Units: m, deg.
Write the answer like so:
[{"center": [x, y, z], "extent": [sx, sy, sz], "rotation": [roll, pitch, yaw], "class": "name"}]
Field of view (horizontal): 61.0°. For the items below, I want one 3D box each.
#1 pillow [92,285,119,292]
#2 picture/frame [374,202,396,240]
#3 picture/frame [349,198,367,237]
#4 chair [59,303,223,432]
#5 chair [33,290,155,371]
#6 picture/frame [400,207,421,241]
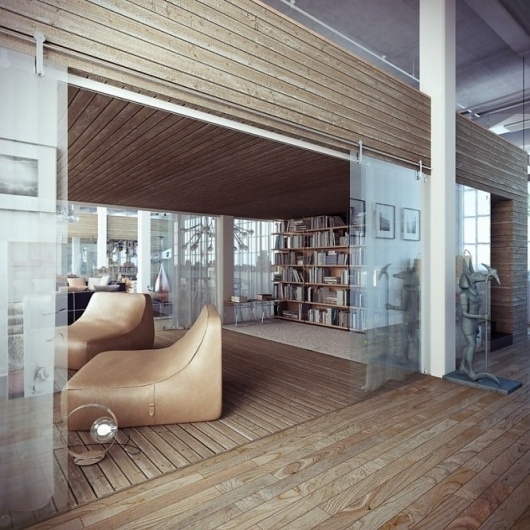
[{"center": [-2.827, 0.430, 8.018], "extent": [0.334, 0.099, 0.413], "rotation": [0, -6, -15], "class": "pillow"}, {"center": [1.145, -0.420, 4.325], "extent": [0.445, 0.372, 0.044], "rotation": [1, -2, -42], "class": "picture/frame"}, {"center": [0.829, -0.423, 4.094], "extent": [0.094, 0.339, 0.207], "rotation": [1, 3, 38], "class": "picture/frame"}, {"center": [-0.945, 0.747, 3.573], "extent": [1.145, 0.580, 1.056], "rotation": [1, -3, -9], "class": "chair"}, {"center": [-1.879, 0.720, 5.234], "extent": [1.016, 0.546, 1.053], "rotation": [-1, -2, 44], "class": "chair"}, {"center": [1.468, -0.409, 4.607], "extent": [0.400, 0.323, 0.041], "rotation": [-5, -1, -43], "class": "picture/frame"}]
